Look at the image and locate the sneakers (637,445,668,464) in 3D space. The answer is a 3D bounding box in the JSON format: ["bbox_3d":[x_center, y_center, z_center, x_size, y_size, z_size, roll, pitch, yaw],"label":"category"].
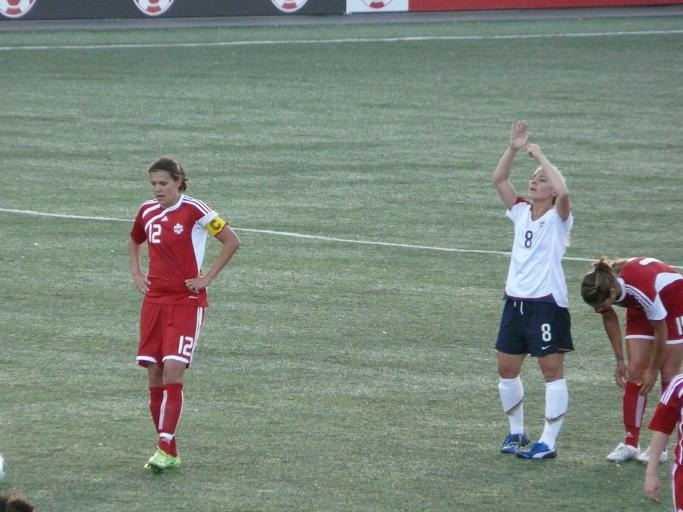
[{"bbox_3d":[4.037,2.580,22.951,0.587,0.207,0.182,0,0,-7],"label":"sneakers"}]

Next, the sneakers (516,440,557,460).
[{"bbox_3d":[2.519,2.529,23.068,0.467,0.163,0.238,1,-3,-5],"label":"sneakers"}]

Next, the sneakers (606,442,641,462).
[{"bbox_3d":[3.614,2.546,23.002,0.392,0.233,0.178,1,7,16],"label":"sneakers"}]

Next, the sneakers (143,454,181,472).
[{"bbox_3d":[-2.284,2.645,22.722,0.422,0.151,0.216,5,-4,-23],"label":"sneakers"}]
